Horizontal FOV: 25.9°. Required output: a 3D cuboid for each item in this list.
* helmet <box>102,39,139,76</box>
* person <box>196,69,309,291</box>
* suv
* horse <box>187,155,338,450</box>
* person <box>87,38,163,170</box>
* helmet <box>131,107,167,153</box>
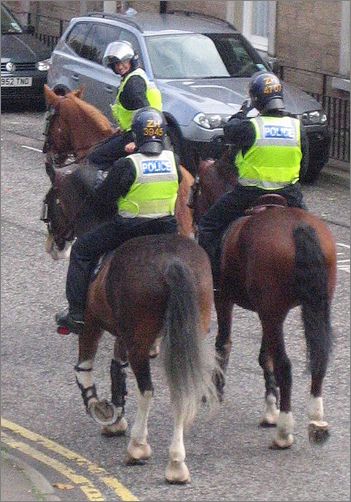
[{"bbox_3d":[-0.456,-1.655,6.477,0.271,0.286,0.321,-7,-17,20],"label":"helmet"},{"bbox_3d":[0.610,-0.480,5.382,0.816,1.469,0.480,-1,20,-12],"label":"person"},{"bbox_3d":[-0.017,-2.733,12.699,2.744,2.252,5.285,-11,25,-28],"label":"suv"},{"bbox_3d":[0.609,0.348,5.341,0.644,1.733,2.388,-1,0,-10],"label":"horse"},{"bbox_3d":[-0.459,-1.158,6.609,0.895,1.256,0.733,-3,9,-10],"label":"person"},{"bbox_3d":[-0.165,-0.746,4.689,0.205,0.277,0.321,-1,13,-2],"label":"helmet"}]
